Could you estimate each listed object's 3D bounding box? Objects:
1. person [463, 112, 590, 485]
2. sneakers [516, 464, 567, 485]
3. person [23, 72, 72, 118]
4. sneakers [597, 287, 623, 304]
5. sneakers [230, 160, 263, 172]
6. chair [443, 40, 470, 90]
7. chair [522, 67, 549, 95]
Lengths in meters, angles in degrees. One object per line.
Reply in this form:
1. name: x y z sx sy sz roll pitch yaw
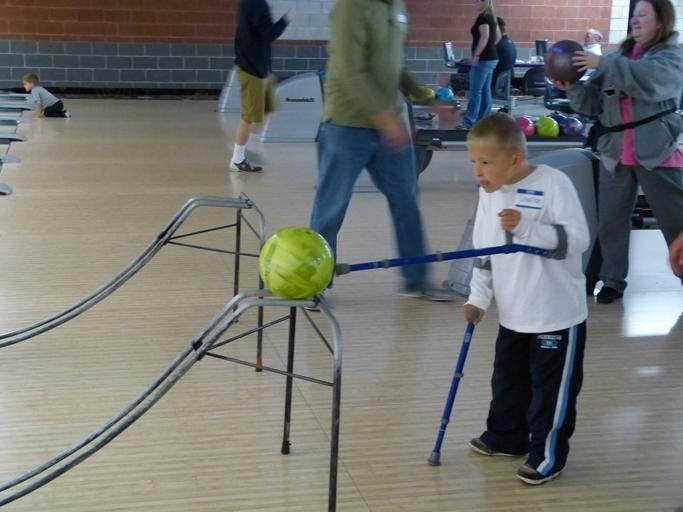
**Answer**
1. person: 0.614 0.147 2.407 0.430 1.218 0.362 5 19 17
2. sneakers: 0.701 0.748 2.471 0.177 0.067 0.056 -3 14 -12
3. person: -4.302 -2.339 10.361 0.501 0.596 1.030 -8 18 -22
4. sneakers: 1.461 0.217 3.890 0.166 0.062 0.063 -7 8 -10
5. sneakers: -0.890 -0.843 6.695 0.314 0.112 0.106 0 10 -17
6. chair: 1.772 -2.739 10.386 0.446 0.641 0.582 0 -5 24
7. chair: 2.781 -2.516 10.264 0.321 0.422 0.986 3 17 14
